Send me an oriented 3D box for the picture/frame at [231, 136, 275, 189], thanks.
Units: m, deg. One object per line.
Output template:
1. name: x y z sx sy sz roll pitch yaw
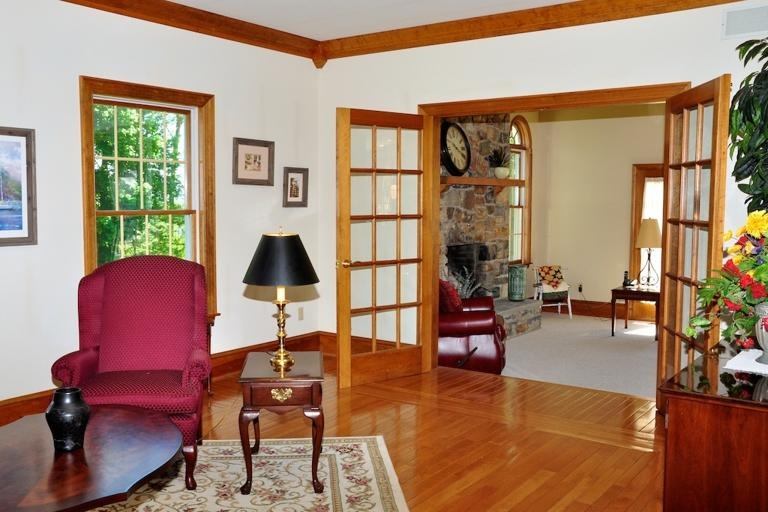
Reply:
1. picture/frame: -1.467 -1.050 5.816 0.043 0.609 0.658 3 2 41

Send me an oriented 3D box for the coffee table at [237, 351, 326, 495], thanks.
1. coffee table: -0.713 1.124 3.747 0.561 0.833 0.675 -1 8 -8

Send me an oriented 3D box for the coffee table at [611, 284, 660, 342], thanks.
1. coffee table: 4.138 0.824 8.840 1.061 1.052 1.156 0 2 28

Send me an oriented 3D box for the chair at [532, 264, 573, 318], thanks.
1. chair: 3.269 0.652 10.175 0.840 0.947 0.692 0 8 -4

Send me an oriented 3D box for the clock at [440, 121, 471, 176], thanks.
1. clock: 1.055 -1.616 7.948 0.159 0.859 0.825 -19 -38 33
